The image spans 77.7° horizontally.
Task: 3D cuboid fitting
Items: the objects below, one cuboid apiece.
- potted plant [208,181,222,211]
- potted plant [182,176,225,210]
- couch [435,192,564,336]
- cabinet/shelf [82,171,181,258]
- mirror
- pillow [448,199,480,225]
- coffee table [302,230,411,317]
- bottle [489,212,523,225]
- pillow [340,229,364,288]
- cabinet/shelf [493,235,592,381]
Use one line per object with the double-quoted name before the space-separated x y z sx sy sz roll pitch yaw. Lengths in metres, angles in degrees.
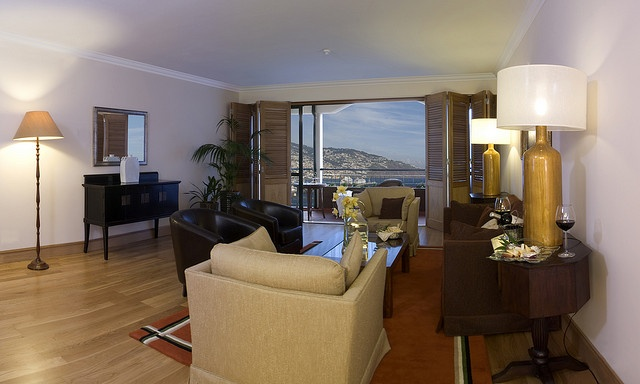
"potted plant" -2.123 0.072 8.150 0.234 0.619 1.225 -2 5 -14
"potted plant" -2.184 0.027 8.185 0.783 0.756 0.760 -1 0 44
"couch" 1.938 0.896 4.655 1.325 1.339 2.229 -2 2 14
"cabinet/shelf" -3.190 0.303 6.810 0.684 1.200 1.390 8 9 33
"mirror" -3.523 -1.006 6.919 1.209 1.294 0.139 -1 1 -44
"pillow" 2.033 0.291 5.611 0.342 0.330 0.145 10 -11 -3
"coffee table" 0.558 0.916 5.129 0.927 0.438 1.265 1 5 21
"bottle" 2.067 0.293 4.394 0.277 0.062 0.196 12 6 22
"pillow" 0.304 0.629 3.698 0.129 0.251 0.409 13 33 12
"cabinet/shelf" 2.056 1.141 3.637 0.936 1.220 0.413 -2 5 -18
